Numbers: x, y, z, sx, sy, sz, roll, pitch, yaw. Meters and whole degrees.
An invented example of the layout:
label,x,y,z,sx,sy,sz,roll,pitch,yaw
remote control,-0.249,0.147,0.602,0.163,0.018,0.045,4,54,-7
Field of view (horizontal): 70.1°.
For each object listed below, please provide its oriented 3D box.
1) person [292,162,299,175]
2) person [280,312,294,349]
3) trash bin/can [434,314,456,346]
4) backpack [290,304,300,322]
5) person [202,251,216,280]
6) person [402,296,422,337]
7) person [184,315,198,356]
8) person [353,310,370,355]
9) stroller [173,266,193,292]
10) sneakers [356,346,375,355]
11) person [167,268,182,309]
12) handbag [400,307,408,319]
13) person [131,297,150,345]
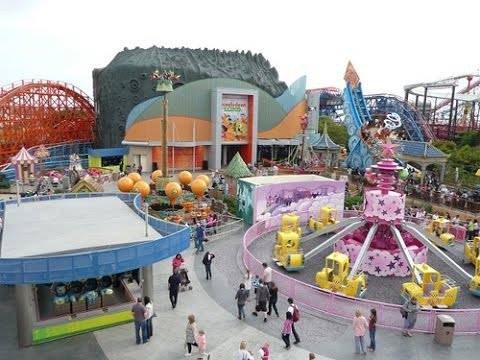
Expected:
label,x,y,z,sx,sy,sz,roll,pitch,yaw
person,7.201,-1.463,43.803,0.915,1.577,0.552,0,-8,10
person,1.710,5.193,12.139,0.346,1.555,0.671,3,11,11
trash bin/can,7.602,5.529,12.628,0.569,0.949,0.501,5,12,19
backpack,1.955,4.698,11.981,0.208,0.758,0.493,6,12,25
person,-1.606,4.100,17.490,0.523,1.425,1.513,0,11,-4
person,6.486,5.099,12.909,0.512,1.597,0.728,10,14,38
person,-1.651,5.177,11.568,0.388,1.666,0.619,-1,11,-9
person,4.319,5.192,12.118,0.480,1.828,1.290,6,12,23
stroller,-2.604,4.608,16.014,0.777,1.255,1.031,-1,-4,-26
sneakers,4.425,5.988,12.034,0.628,0.286,0.204,-7,8,-20
person,-2.809,4.614,14.607,0.427,1.448,0.853,-1,11,-12
handbag,6.159,4.976,12.785,0.158,0.401,0.382,2,3,0
person,-3.585,4.875,12.140,0.461,1.869,0.661,-6,13,-34
